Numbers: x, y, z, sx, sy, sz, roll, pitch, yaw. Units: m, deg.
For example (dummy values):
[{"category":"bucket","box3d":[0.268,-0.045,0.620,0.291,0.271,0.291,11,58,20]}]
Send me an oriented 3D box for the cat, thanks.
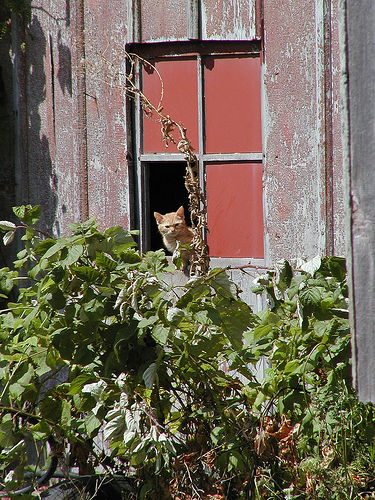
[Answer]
[{"category":"cat","box3d":[-0.062,-0.104,5.518,0.189,0.302,0.378,-9,12,5]}]
